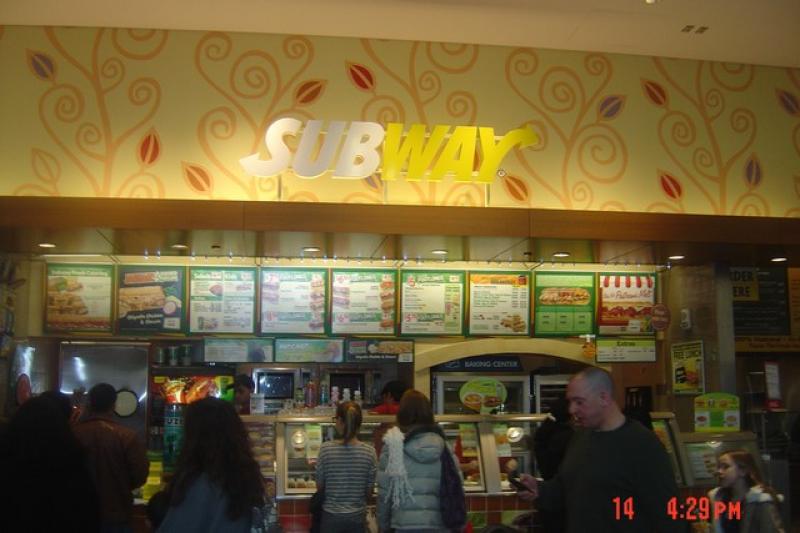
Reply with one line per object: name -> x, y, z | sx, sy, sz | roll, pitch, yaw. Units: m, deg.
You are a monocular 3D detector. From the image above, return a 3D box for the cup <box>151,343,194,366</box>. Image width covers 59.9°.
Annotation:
cup -> -1.587, 0.614, 4.889 | 0.300, 0.159, 0.090 | 2, -9, -21

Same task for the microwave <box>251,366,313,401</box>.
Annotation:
microwave -> -0.954, 0.903, 5.515 | 0.519, 0.291, 0.260 | 2, -10, -18

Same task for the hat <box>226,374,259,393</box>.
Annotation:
hat -> -1.173, 0.868, 5.216 | 0.193, 0.088, 0.113 | 6, -12, -2
